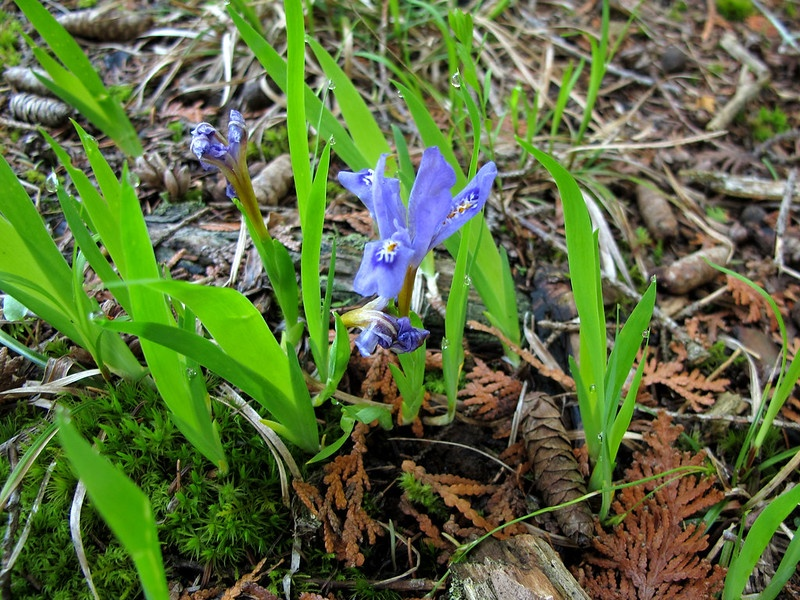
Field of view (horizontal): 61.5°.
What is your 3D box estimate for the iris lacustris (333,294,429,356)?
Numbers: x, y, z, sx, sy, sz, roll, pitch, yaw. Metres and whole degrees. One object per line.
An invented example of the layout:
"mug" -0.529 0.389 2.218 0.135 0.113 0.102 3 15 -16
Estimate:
"iris lacustris" -0.068 0.116 2.499 0.241 0.132 0.246 17 53 13
